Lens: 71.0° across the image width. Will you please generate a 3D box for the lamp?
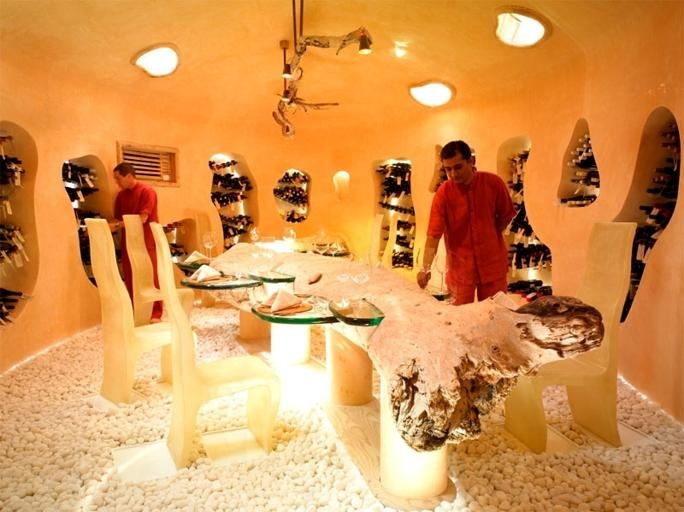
[{"bbox_3d":[-0.405,-2.379,6.194,0.960,1.617,3.572,-2,13,-8],"label":"lamp"}]
